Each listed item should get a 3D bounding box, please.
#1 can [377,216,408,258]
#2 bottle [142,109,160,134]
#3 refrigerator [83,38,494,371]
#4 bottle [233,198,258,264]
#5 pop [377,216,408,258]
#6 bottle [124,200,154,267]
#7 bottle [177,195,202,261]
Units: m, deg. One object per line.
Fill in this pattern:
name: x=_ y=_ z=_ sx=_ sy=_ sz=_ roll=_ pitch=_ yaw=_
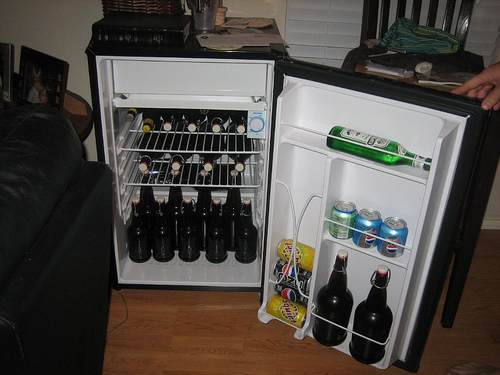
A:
can: x=0.529 y=0.188 z=1.419 sx=0.085 sy=0.146 sz=0.090 roll=-5 pitch=39 yaw=4
bottle: x=-0.497 y=-0.336 z=1.925 sx=0.068 sy=0.109 sz=0.114 roll=14 pitch=35 yaw=-15
refrigerator: x=0.154 y=0.086 z=1.619 sx=1.274 sy=1.146 sz=0.674 roll=7 pitch=37 yaw=0
bottle: x=-0.026 y=0.240 z=2.004 sx=0.143 sy=0.376 sz=0.146 roll=2 pitch=38 yaw=-2
pop: x=0.548 y=0.185 z=1.448 sx=0.092 sy=0.141 sz=0.133 roll=11 pitch=14 yaw=40
bottle: x=-0.581 y=0.238 z=1.991 sx=0.135 sy=0.345 sz=0.140 roll=6 pitch=46 yaw=-6
bottle: x=-0.317 y=0.213 z=1.997 sx=0.139 sy=0.377 sz=0.146 roll=4 pitch=41 yaw=-3
